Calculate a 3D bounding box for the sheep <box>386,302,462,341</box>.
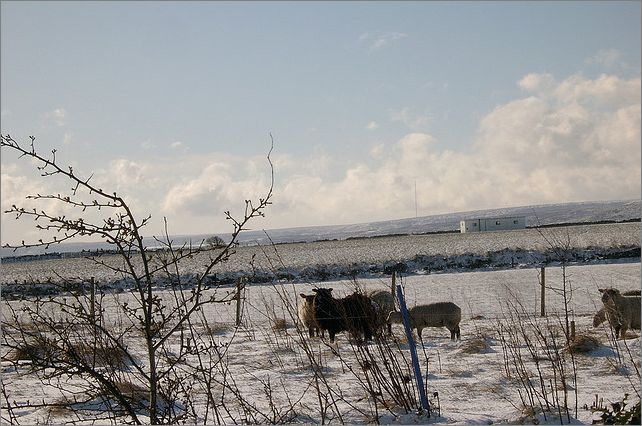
[{"bbox_3d":[3.902,4.104,34.680,2.217,1.597,1.743,-4,-16,-22],"label":"sheep"}]
